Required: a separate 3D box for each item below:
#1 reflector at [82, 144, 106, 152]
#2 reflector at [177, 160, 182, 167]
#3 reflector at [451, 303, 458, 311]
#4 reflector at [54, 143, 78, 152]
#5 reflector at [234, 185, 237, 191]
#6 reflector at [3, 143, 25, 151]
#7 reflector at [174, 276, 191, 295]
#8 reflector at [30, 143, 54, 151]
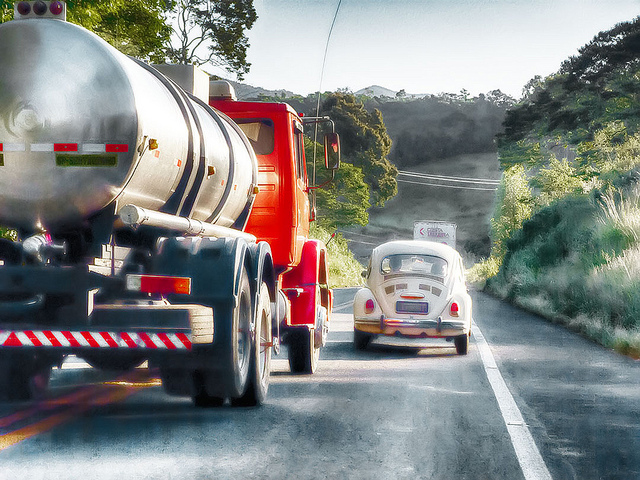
[{"bbox_3d":[-2.179,-0.899,6.191,0.225,0.076,0.018,2,5,5],"label":"reflector"},{"bbox_3d":[-1.512,-0.853,6.938,0.041,0.048,0.044,4,2,6],"label":"reflector"},{"bbox_3d":[2.684,1.331,12.872,0.128,0.165,0.027,2,-7,13],"label":"reflector"},{"bbox_3d":[-2.443,-0.903,6.179,0.210,0.090,0.035,1,5,-1],"label":"reflector"},{"bbox_3d":[-1.118,-0.703,8.495,0.033,0.044,0.139,-1,8,-3],"label":"reflector"},{"bbox_3d":[-2.932,-0.906,6.157,0.191,0.070,0.009,3,2,6],"label":"reflector"},{"bbox_3d":[-1.352,0.440,6.347,0.119,0.179,0.236,-1,-3,13],"label":"reflector"},{"bbox_3d":[-2.666,-0.903,6.209,0.157,0.080,0.033,2,2,-2],"label":"reflector"}]
